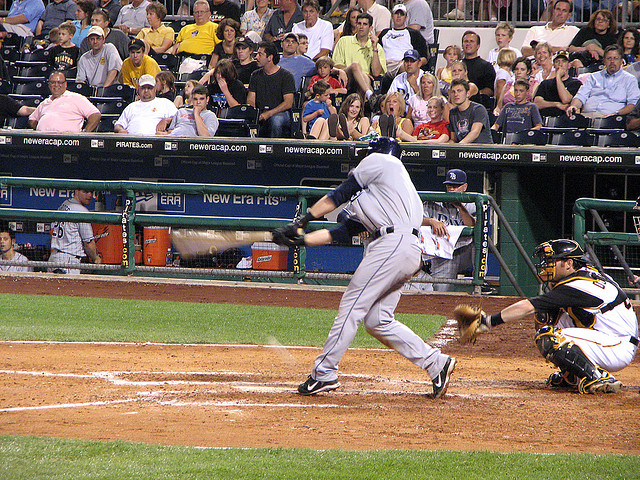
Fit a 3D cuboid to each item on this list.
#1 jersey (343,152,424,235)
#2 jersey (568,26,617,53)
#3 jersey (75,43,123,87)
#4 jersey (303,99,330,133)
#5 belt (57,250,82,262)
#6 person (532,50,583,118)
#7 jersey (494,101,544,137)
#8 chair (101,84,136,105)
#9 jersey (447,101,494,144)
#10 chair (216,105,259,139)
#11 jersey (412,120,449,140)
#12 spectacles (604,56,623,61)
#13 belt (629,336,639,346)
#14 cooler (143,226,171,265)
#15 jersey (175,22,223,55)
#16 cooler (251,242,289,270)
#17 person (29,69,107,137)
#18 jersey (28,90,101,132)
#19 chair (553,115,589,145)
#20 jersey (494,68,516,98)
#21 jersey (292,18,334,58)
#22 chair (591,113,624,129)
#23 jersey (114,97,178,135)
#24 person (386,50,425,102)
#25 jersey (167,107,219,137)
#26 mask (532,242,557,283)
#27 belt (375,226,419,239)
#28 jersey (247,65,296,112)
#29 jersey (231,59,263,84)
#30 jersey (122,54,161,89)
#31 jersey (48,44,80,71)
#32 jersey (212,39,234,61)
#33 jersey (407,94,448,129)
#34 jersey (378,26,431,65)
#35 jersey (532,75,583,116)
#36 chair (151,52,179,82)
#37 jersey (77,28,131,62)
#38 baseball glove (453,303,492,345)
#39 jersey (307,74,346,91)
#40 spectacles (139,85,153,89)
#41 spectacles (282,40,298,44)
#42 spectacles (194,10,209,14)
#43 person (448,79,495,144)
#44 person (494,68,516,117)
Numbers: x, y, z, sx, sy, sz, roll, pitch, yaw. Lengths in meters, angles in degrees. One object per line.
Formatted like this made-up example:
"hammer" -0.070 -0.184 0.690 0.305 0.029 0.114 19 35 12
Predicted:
"jersey" 0.634 -0.474 15.444 0.960 0.935 0.736 -3 -13 4
"jersey" 4.411 -3.217 22.410 0.727 0.429 0.397 1 3 3
"jersey" -3.602 -2.777 22.870 0.768 0.754 0.485 -5 -5 4
"jersey" -0.027 -1.860 21.366 0.441 0.536 0.279 -1 12 -19
"belt" -3.764 0.255 21.195 0.370 0.182 0.072 0 3 -17
"person" 3.601 -2.350 21.157 0.736 1.002 0.411 2 3 8
"jersey" 2.990 -1.792 20.929 0.700 0.608 0.268 4 20 10
"chair" -3.210 -2.366 22.447 0.439 0.446 0.366 1 8 9
"jersey" 2.225 -1.666 20.853 0.695 0.697 0.410 -7 2 28
"chair" -1.229 -1.875 21.825 0.540 0.736 0.581 4 8 13
"jersey" 1.702 -1.647 20.986 0.338 0.138 0.337 -23 8 -15
"spectacles" 4.392 -2.711 20.925 0.223 0.071 0.098 2 3 14
"belt" 3.523 1.136 15.656 0.009 0.073 0.203 3 -7 40
"cooler" -2.460 0.102 21.079 0.388 0.645 0.374 2 -1 -3
"jersey" -2.060 -3.380 23.692 0.995 0.644 0.520 5 -2 25
"cooler" -0.713 0.215 20.752 0.677 0.499 0.423 2 2 18
"person" -3.942 -2.110 21.881 1.104 1.019 0.800 0 3 -13
"jersey" -3.985 -2.003 21.943 0.979 0.649 0.471 0 3 -12
"chair" 3.749 -1.589 20.869 0.438 0.518 0.462 -1 -5 21
"jersey" 2.870 -2.406 21.548 0.232 0.419 0.433 -14 21 -41
"jersey" -0.106 -3.315 23.071 0.693 0.653 0.539 2 3 19
"chair" 4.269 -1.736 20.683 0.301 0.126 0.229 -9 -3 8
"jersey" -2.664 -1.916 21.673 0.925 0.576 0.433 1 3 -10
"person" 1.340 -2.506 21.419 0.495 0.764 0.613 1 3 2
"jersey" -1.891 -1.775 21.519 0.455 0.221 0.552 -2 1 41
"mask" 2.567 0.207 15.800 0.320 0.404 0.416 9 28 7
"belt" 0.850 -0.078 15.243 0.478 0.132 0.120 1 3 1
"jersey" -0.751 -2.333 21.634 0.715 0.624 0.408 2 -3 8
"jersey" -1.140 -2.625 22.304 0.576 0.494 0.321 0 -9 -1
"jersey" -2.919 -2.694 22.769 0.581 0.422 0.706 6 -32 4
"jersey" -4.270 -3.046 23.481 0.385 0.367 0.215 13 -30 -10
"jersey" -1.546 -3.077 22.966 0.428 0.413 0.243 -1 -7 -2
"jersey" 1.602 -1.895 21.274 0.624 0.649 0.362 8 11 39
"jersey" 1.339 -3.102 22.646 1.002 0.743 0.473 0 4 30
"jersey" 3.618 -2.151 21.144 0.504 0.567 0.312 10 -17 21
"chair" -2.499 -2.896 23.504 0.424 0.590 0.484 0 -1 11
"jersey" -3.765 -3.166 23.580 0.644 0.343 0.843 11 -23 1
"baseball glove" 1.679 0.815 15.695 0.319 0.580 0.565 -14 -9 10
"jersey" 0.152 -2.454 21.752 0.270 0.190 0.380 2 0 24
"spectacles" -2.646 -2.346 21.490 0.195 0.058 0.066 1 3 0
"spectacles" -0.447 -3.130 22.152 0.211 0.059 0.090 1 3 -8
"spectacles" -1.996 -3.811 23.405 0.208 0.060 0.064 4 4 38
"person" 2.147 -1.841 20.789 0.796 1.047 0.809 -4 -1 -8
"person" 2.846 -2.269 21.533 0.276 0.731 0.555 1 3 4
